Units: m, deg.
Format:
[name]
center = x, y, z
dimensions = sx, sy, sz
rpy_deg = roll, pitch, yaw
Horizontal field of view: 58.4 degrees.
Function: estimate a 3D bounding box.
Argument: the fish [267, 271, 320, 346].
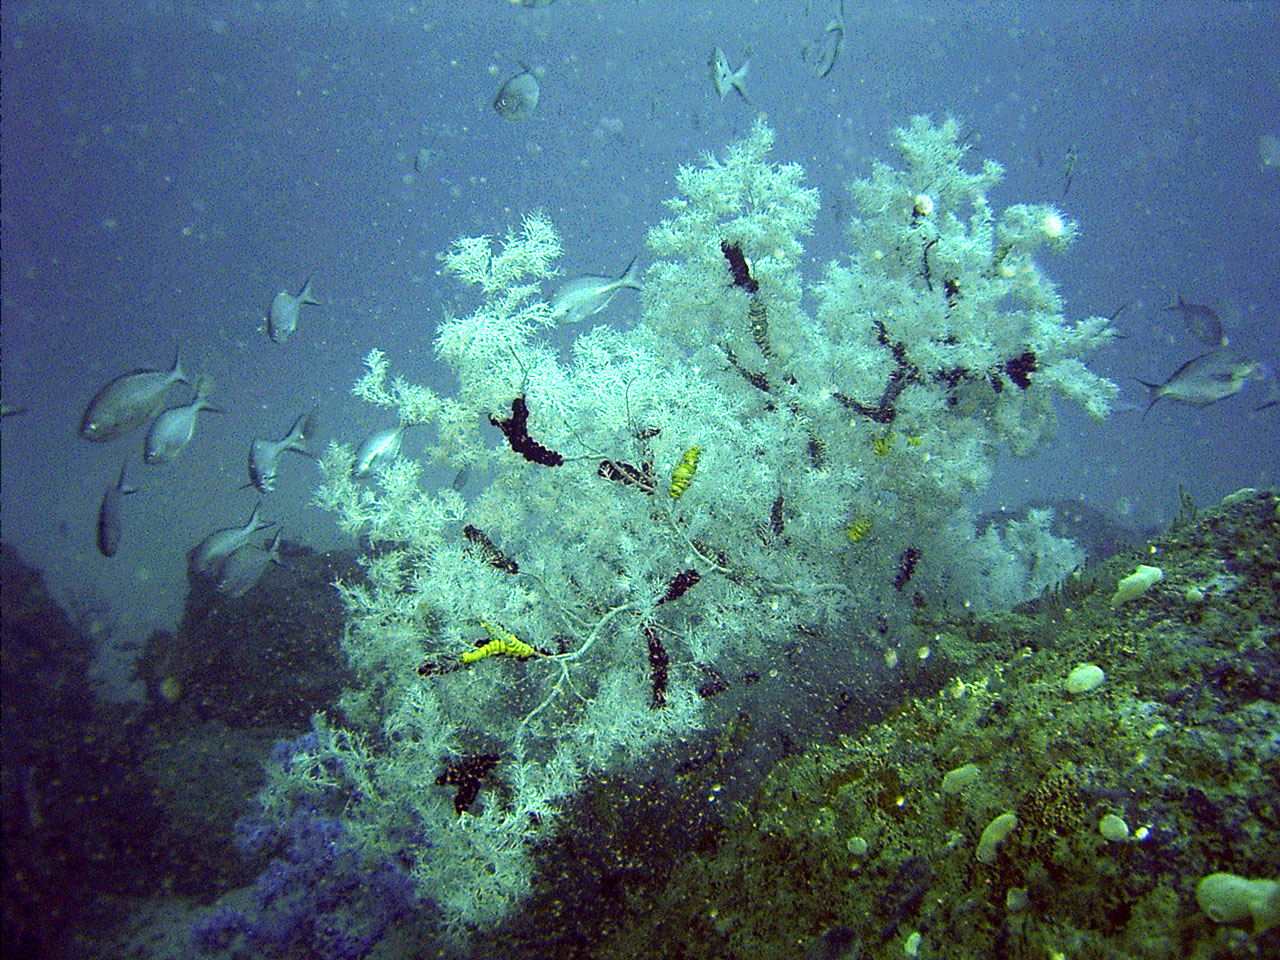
[fish]
center = -4.850, -2.375, 15.999
dimensions = 0.961, 0.444, 0.500
rpy_deg = -62, -32, -43
